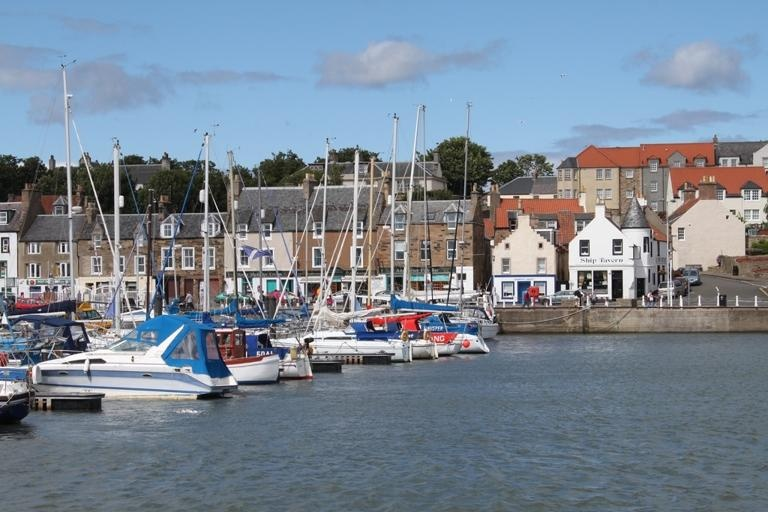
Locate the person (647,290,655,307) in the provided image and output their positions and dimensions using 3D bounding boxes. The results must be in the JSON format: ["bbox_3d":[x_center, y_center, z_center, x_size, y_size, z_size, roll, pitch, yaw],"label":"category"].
[{"bbox_3d":[24.657,3.854,129.731,1.103,1.323,0.510,3,-9,13],"label":"person"}]

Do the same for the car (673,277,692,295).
[{"bbox_3d":[28.777,2.964,136.519,1.304,0.979,2.085,-2,-5,14],"label":"car"}]

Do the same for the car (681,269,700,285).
[{"bbox_3d":[31.065,2.123,142.339,1.392,1.127,2.469,-2,-4,14],"label":"car"}]

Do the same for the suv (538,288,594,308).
[{"bbox_3d":[16.875,3.959,132.076,4.155,1.351,1.817,1,-1,9],"label":"suv"}]

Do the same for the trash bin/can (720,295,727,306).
[{"bbox_3d":[29.797,3.927,124.126,0.635,0.952,1.420,-2,-3,7],"label":"trash bin/can"}]
